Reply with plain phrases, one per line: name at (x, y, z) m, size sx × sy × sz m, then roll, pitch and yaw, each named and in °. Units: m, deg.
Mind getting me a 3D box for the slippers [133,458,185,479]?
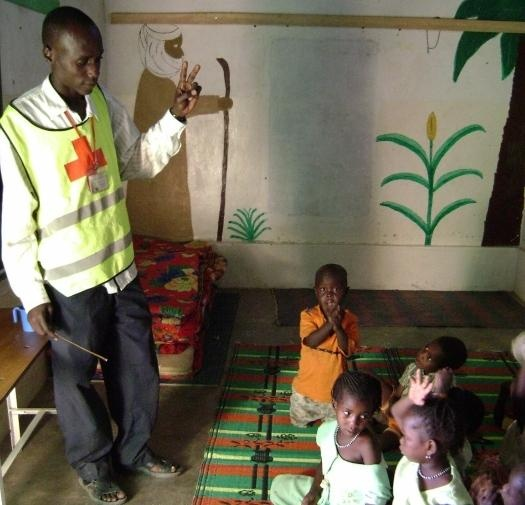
slippers at (-0.469, 0.987, 2.235) m, size 0.197 × 0.065 × 0.093 m, roll 1°, pitch 8°, yaw 6°
